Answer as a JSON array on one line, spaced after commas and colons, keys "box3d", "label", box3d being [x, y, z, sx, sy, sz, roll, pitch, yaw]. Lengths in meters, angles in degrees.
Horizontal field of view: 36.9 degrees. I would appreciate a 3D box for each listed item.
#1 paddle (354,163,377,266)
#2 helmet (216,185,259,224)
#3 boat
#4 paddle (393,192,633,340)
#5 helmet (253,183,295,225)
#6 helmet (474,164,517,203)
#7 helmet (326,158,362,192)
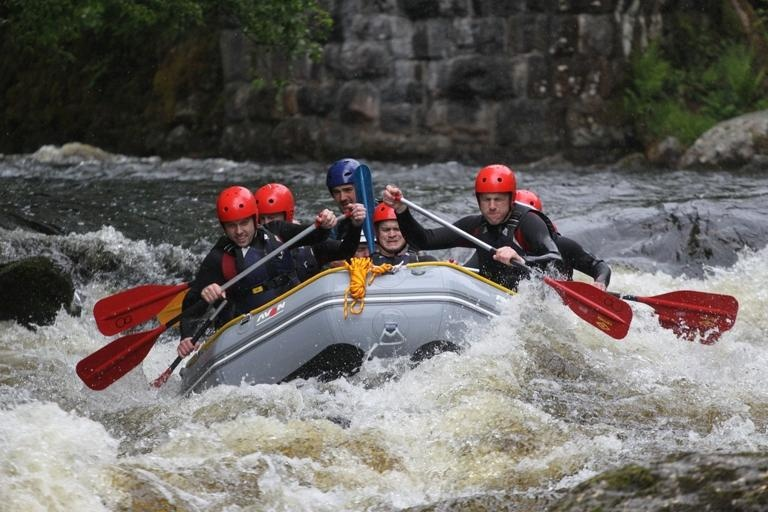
[{"box3d": [-0.201, -0.683, 14.141, 0.210, 0.914, 0.062, -17, 11, -32], "label": "paddle"}, {"box3d": [-1.842, -0.658, 14.316, 0.393, 0.474, 0.465, -8, 13, 8], "label": "helmet"}, {"box3d": [-0.526, 0.880, 13.840, 2.882, 0.694, 1.686, -28, -13, 10], "label": "boat"}, {"box3d": [1.637, 0.180, 14.519, 4.059, 0.693, 0.300, 27, 9, 16], "label": "paddle"}, {"box3d": [-1.427, -0.732, 15.512, 0.450, 0.537, 0.553, -5, 9, 12], "label": "helmet"}, {"box3d": [1.414, -0.956, 14.584, 0.389, 0.484, 0.499, -2, -11, 10], "label": "helmet"}, {"box3d": [-0.482, -1.086, 14.882, 0.390, 0.443, 0.346, 17, 15, 41], "label": "helmet"}]
